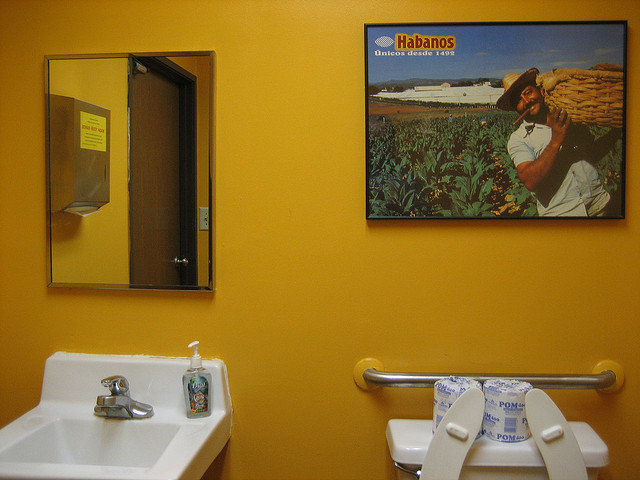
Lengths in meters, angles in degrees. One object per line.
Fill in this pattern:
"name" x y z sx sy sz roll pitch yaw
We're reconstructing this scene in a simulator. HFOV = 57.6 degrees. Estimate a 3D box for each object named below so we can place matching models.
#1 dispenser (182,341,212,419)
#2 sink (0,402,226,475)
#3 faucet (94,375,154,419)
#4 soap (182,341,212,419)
"dispenser" -0.447 0.507 2.117 0.103 0.280 0.060 -4 6 -15
"sink" -0.745 0.715 1.998 0.760 0.181 0.361 0 5 5
"faucet" -0.705 0.573 2.147 0.114 0.166 0.212 0 -1 20
"soap" -0.448 0.509 2.118 0.105 0.282 0.062 -3 4 -14
